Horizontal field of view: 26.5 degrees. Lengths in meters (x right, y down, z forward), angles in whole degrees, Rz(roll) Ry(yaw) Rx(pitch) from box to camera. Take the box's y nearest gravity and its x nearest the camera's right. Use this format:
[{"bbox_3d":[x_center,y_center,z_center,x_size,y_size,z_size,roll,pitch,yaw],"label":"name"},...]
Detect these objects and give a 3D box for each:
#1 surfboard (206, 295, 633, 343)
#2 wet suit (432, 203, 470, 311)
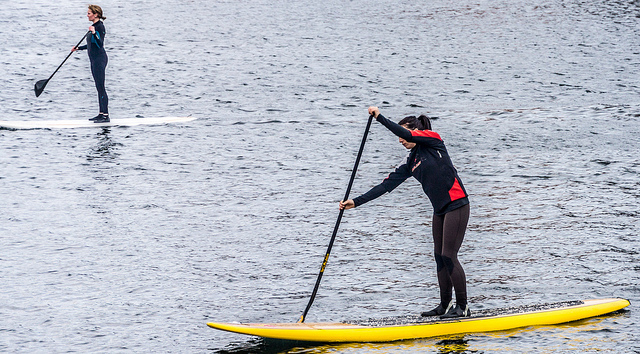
[{"bbox_3d":[3.307,4.546,43.078,19.871,1.963,0.765,0,86,-6],"label":"surfboard"},{"bbox_3d":[4.093,2.507,43.399,1.394,3.025,1.137,2,0,22],"label":"wet suit"}]
